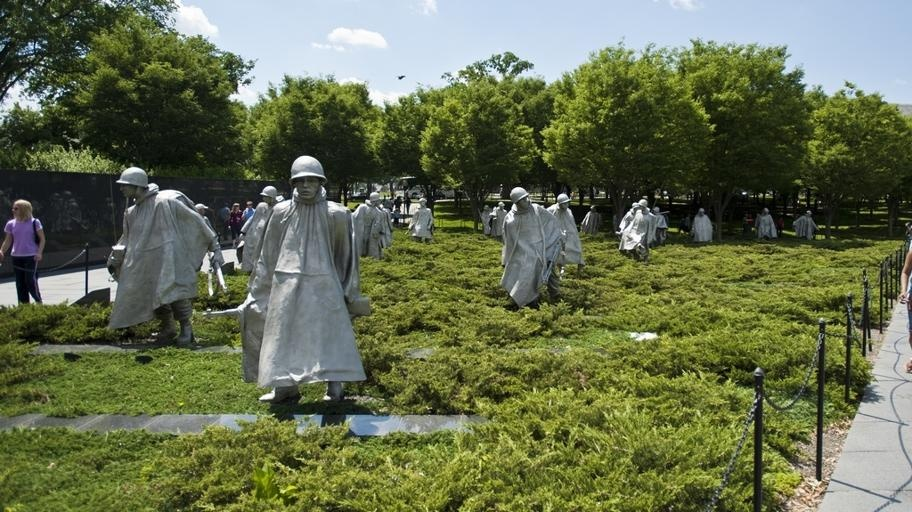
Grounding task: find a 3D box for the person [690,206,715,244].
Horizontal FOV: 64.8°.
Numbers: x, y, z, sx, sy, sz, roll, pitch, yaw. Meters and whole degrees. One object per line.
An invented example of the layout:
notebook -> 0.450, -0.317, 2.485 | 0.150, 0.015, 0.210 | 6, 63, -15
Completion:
person -> 12.503, -1.591, 36.190 | 0.944, 1.549, 1.017 | 1, 2, 7
